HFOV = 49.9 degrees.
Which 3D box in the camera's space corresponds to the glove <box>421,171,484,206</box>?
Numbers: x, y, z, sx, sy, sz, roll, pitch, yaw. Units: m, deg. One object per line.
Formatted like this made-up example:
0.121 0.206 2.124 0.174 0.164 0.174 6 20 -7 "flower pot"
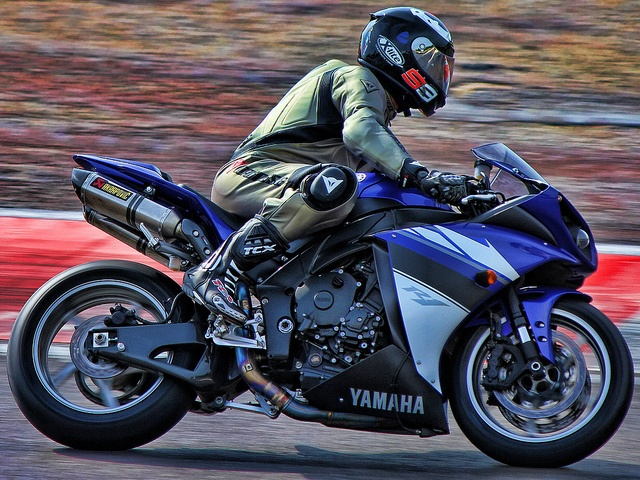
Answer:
0.811 -0.312 4.181 0.227 0.207 0.296 9 9 36 "glove"
